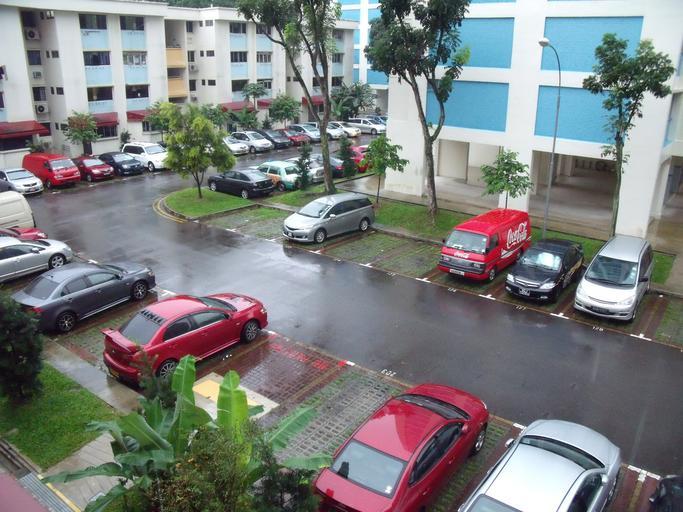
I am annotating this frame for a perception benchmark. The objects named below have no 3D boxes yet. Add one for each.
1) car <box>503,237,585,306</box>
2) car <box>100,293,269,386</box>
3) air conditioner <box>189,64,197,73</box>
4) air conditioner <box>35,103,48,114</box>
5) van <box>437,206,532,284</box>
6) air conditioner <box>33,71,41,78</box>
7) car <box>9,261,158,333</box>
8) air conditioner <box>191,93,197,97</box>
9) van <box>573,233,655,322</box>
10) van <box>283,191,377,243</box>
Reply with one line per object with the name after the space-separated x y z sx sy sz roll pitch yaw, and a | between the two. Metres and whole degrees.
7.841 0.583 17.037 1.628 1.647 3.532 17 28 41 | car
-4.310 2.056 12.812 2.110 1.586 4.836 20 32 37 | car
-15.611 -19.694 46.297 0.781 0.802 0.481 1 4 9 | air conditioner
-25.061 -12.316 36.842 0.801 0.760 0.817 18 25 42 | air conditioner
6.106 -0.410 18.717 2.183 2.015 4.408 12 29 40 | van
-25.045 -14.885 36.168 0.284 0.477 0.535 8 23 25 | air conditioner
-8.472 1.254 15.351 1.891 1.593 4.581 19 30 32 | car
-15.836 -17.050 47.292 0.176 0.544 0.593 13 25 34 | air conditioner
9.757 0.936 15.813 1.733 2.010 3.403 16 27 39 | van
-0.650 -1.693 22.185 4.227 1.797 2.252 -15 26 -35 | van
